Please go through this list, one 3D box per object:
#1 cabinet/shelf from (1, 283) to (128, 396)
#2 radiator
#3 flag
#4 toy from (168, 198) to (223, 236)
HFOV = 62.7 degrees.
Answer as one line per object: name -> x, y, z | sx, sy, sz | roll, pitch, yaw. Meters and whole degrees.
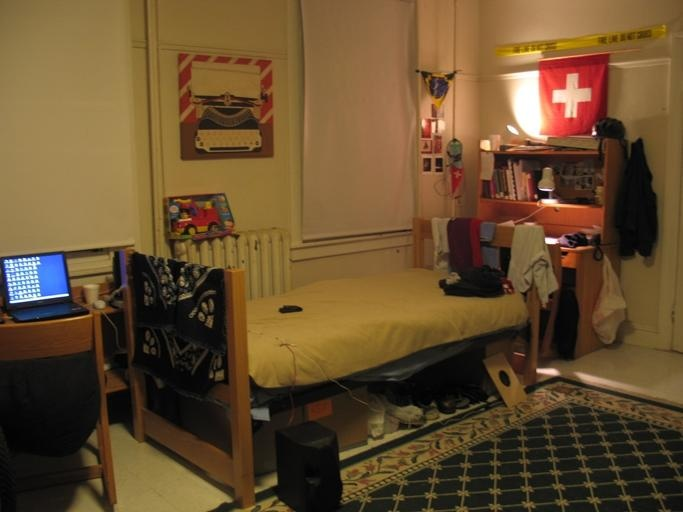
cabinet/shelf -> -1.691, 0.485, 3.382 | 0.393, 0.756, 0.759 | 6, 10, 41
radiator -> -0.750, 0.096, 4.978 | 0.111, 0.647, 0.868 | -2, 0, 26
flag -> 2.456, -1.707, 5.859 | 0.883, 0.961, 0.083 | 8, 14, 44
toy -> -1.208, -0.348, 4.611 | 0.389, 0.310, 0.253 | -10, 15, -36
